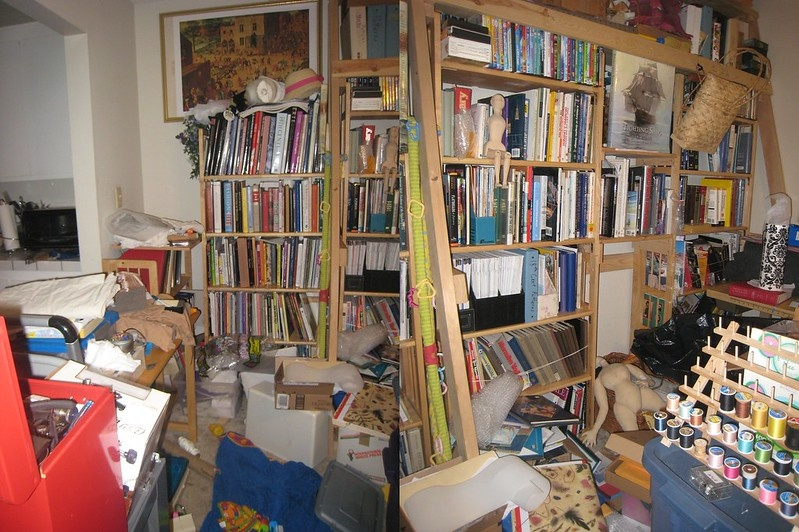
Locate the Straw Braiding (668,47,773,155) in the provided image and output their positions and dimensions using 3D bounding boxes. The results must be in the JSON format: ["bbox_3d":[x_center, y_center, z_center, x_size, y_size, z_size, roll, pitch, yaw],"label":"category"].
[{"bbox_3d":[1.789,-0.987,3.370,0.472,0.734,0.178,15,15,-17],"label":"Straw Braiding"}]

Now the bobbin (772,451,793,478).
[{"bbox_3d":[1.454,0.745,2.140,0.063,0.089,0.061,3,7,35],"label":"bobbin"}]

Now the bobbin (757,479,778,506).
[{"bbox_3d":[1.399,0.855,2.139,0.085,0.083,0.082,0,6,40],"label":"bobbin"}]

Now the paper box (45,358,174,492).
[{"bbox_3d":[-1.015,0.549,1.942,0.413,0.394,0.224,26,38,4],"label":"paper box"}]

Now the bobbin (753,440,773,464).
[{"bbox_3d":[1.391,0.707,2.155,0.072,0.081,0.048,-5,7,-35],"label":"bobbin"}]

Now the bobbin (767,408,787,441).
[{"bbox_3d":[1.419,0.592,2.121,0.063,0.104,0.041,-3,6,-14],"label":"bobbin"}]

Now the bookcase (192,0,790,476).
[{"bbox_3d":[0.383,-0.156,2.674,2.778,1.827,0.419,-5,8,-35],"label":"bookcase"}]
